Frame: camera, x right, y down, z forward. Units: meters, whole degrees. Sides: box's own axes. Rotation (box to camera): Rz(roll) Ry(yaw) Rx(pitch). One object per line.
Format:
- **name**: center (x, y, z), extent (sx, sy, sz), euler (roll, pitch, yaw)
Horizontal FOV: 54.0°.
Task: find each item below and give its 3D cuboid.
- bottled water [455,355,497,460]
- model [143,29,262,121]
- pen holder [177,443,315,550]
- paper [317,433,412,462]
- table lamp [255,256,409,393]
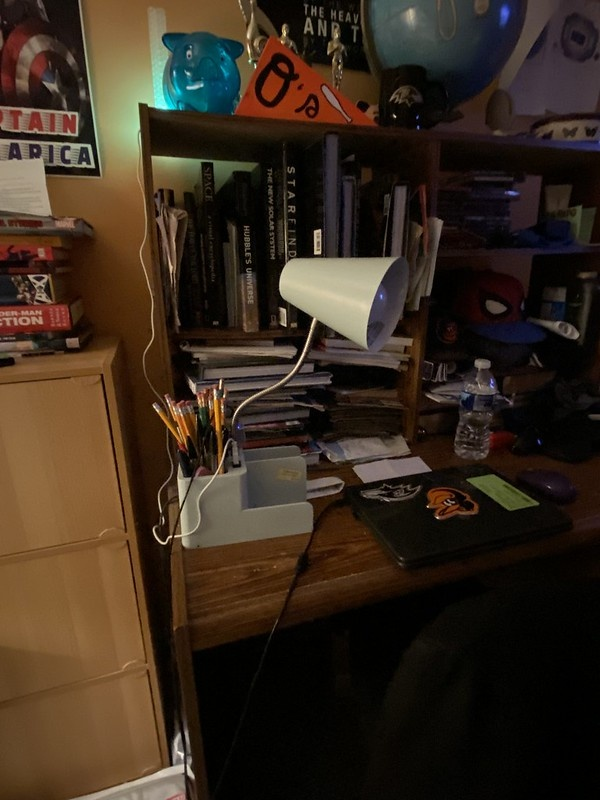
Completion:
- **bottled water**: center (0.417, 0.022, 1.392), extent (0.085, 0.233, 0.085), euler (7, 19, 19)
- **model**: center (-0.197, -0.635, 1.170), extent (0.166, 0.143, 0.193), euler (-1, 21, -3)
- **pen holder**: center (-0.098, 0.161, 1.049), extent (0.247, 0.111, 0.184), euler (-6, 14, -20)
- **paper**: center (0.153, 0.106, 1.333), extent (0.114, 0.027, 0.085), euler (-5, 13, -22)
- **table lamp**: center (0.050, -0.098, 0.854), extent (0.117, 0.220, 0.230), euler (-18, 25, -39)
